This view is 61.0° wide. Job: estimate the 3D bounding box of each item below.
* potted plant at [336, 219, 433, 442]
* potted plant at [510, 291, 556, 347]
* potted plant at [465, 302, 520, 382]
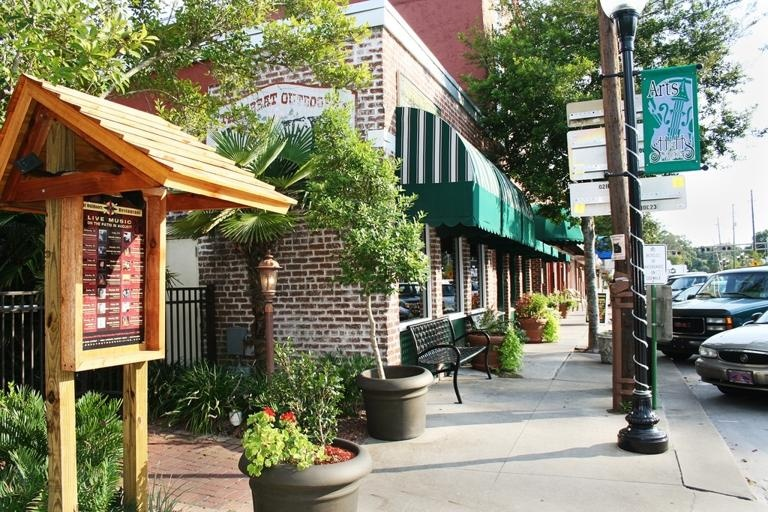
[{"bbox_3d":[-0.047,1.018,9.836,1.416,3.136,1.196,-4,0,18],"label":"potted plant"},{"bbox_3d":[4.519,1.755,19.794,0.835,1.151,0.792,2,13,45],"label":"potted plant"},{"bbox_3d":[2.285,1.867,14.341,0.791,1.019,1.047,-3,5,-31],"label":"potted plant"}]
